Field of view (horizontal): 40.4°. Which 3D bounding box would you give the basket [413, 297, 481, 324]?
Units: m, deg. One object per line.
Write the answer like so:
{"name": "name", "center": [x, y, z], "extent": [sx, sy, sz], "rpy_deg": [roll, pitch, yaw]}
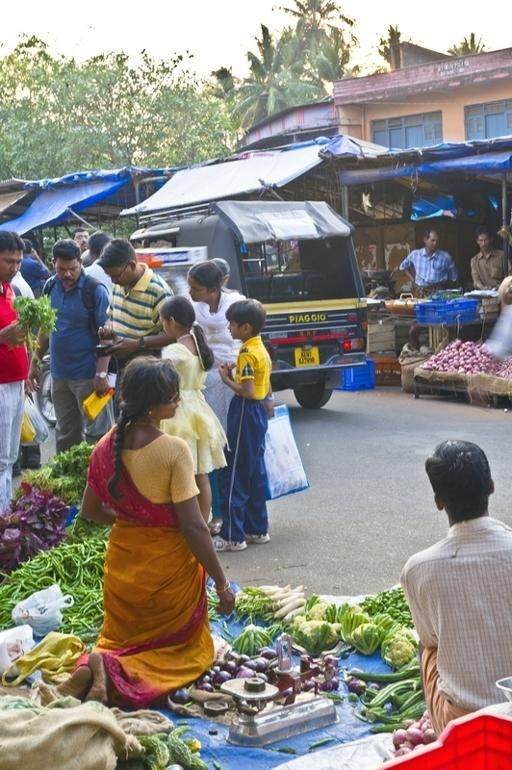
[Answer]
{"name": "basket", "center": [3.250, -1.170, 11.544], "extent": [0.517, 0.336, 0.832], "rpy_deg": [4, 7, 43]}

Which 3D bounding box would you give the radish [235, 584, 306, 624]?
{"name": "radish", "center": [0.080, 1.164, 3.709], "extent": [0.310, 0.158, 0.405], "rpy_deg": [-3, 6, -28]}

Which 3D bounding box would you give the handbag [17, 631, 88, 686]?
{"name": "handbag", "center": [-0.899, 1.210, 3.091], "extent": [0.155, 0.078, 0.205], "rpy_deg": [12, 23, 25]}

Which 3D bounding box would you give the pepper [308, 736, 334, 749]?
{"name": "pepper", "center": [0.231, 1.279, 2.488], "extent": [0.091, 0.026, 0.032], "rpy_deg": [-16, 9, -33]}

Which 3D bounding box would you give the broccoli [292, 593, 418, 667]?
{"name": "broccoli", "center": [0.469, 1.155, 3.232], "extent": [0.638, 0.310, 0.635], "rpy_deg": [2, -3, -1]}

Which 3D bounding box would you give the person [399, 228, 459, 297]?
{"name": "person", "center": [3.311, -2.304, 13.301], "extent": [0.846, 1.154, 1.032], "rpy_deg": [-4, 5, 3]}

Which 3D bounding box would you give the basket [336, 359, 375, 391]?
{"name": "basket", "center": [1.858, -0.103, 12.431], "extent": [0.563, 0.707, 0.771], "rpy_deg": [-1, 0, 32]}

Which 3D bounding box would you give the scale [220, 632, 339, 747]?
{"name": "scale", "center": [0.071, 1.147, 2.761], "extent": [0.480, 0.197, 0.482], "rpy_deg": [-4, 9, -21]}

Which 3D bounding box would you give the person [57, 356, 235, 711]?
{"name": "person", "center": [-0.344, 0.606, 3.016], "extent": [0.753, 1.316, 0.763], "rpy_deg": [1, 17, -28]}

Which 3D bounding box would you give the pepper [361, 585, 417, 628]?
{"name": "pepper", "center": [0.678, 1.113, 3.499], "extent": [0.155, 0.060, 0.148], "rpy_deg": [-12, 16, -31]}
